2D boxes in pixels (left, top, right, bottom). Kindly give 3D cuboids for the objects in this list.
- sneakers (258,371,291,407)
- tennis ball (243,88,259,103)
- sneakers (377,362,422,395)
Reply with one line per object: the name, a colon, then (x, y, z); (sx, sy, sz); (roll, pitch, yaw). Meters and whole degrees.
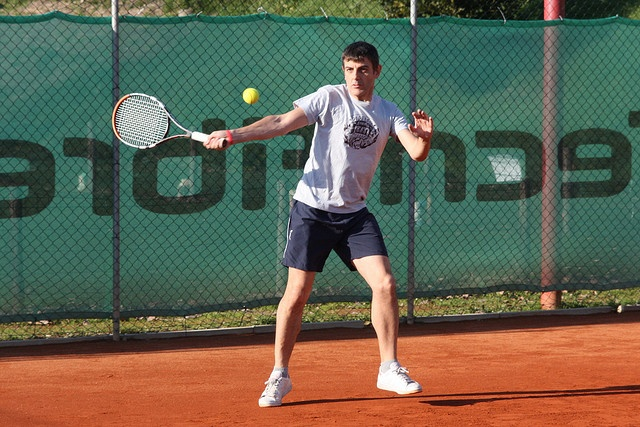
sneakers: (-0.370, 1.438, 5.740); (0.138, 0.221, 0.421); (-3, 12, 25)
tennis ball: (-0.650, -1.103, 6.519); (0.147, 0.177, 0.158); (0, -23, 0)
sneakers: (0.629, 1.329, 5.632); (0.395, 0.261, 0.183); (-1, -8, 39)
